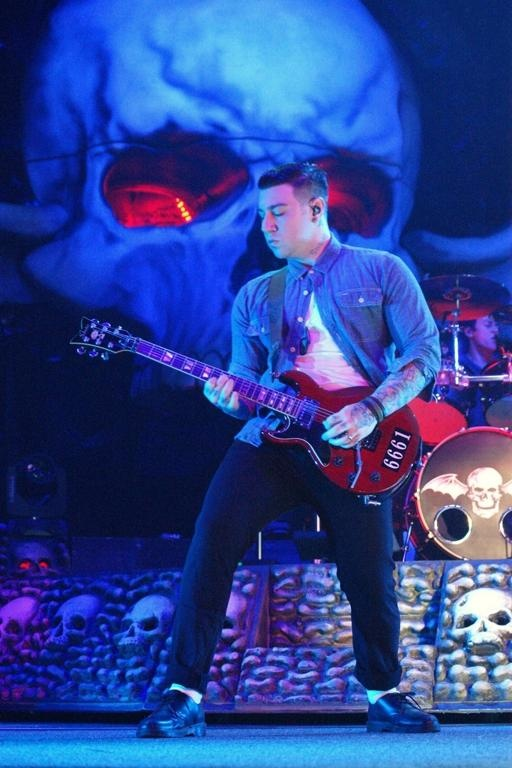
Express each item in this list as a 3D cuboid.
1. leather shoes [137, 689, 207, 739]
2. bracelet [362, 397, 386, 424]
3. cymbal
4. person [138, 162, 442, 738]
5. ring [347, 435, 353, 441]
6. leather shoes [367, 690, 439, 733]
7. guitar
[{"bbox_3d":[-0.228,0.909,2.150,0.151,0.128,0.219,0,-11,10],"label":"leather shoes"},{"bbox_3d":[0.378,0.077,2.449,0.093,0.082,0.041,10,-14,-34],"label":"bracelet"},{"bbox_3d":[1.181,-0.496,4.487,0.391,0.076,0.341,9,-37,-6],"label":"cymbal"},{"bbox_3d":[0.175,0.113,2.466,0.779,1.837,0.552,0,-12,10],"label":"person"},{"bbox_3d":[0.285,0.164,2.400,0.012,0.016,0.006,-4,-14,30],"label":"ring"},{"bbox_3d":[0.417,0.964,2.300,0.099,0.093,0.222,15,-23,-39],"label":"leather shoes"},{"bbox_3d":[-0.082,0.132,3.280,1.453,0.454,0.760,17,0,20],"label":"guitar"}]
